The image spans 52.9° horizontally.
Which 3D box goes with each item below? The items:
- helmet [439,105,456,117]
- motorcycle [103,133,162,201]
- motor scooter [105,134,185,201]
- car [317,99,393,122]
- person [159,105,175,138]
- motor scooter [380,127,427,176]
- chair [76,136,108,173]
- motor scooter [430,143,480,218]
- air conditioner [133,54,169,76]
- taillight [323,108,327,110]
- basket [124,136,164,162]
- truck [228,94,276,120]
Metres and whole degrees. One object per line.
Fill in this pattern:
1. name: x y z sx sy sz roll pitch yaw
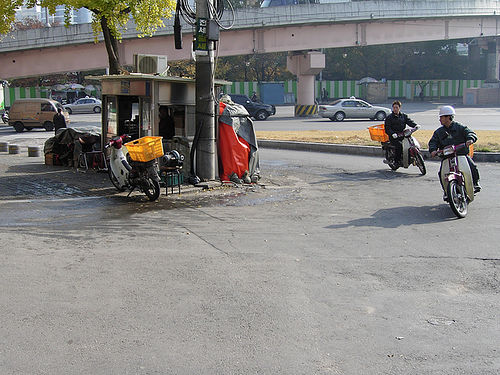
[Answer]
1. helmet: 4.118 -1.593 10.393 0.403 0.255 0.298 5 9 13
2. motorcycle: -2.747 -0.549 11.699 0.792 1.385 2.176 -19 20 -40
3. motor scooter: -2.682 -0.576 11.705 0.922 1.396 2.333 -20 19 -37
4. car: 8.003 -6.173 39.641 4.960 1.643 2.433 0 10 10
5. person: -2.346 -1.866 14.144 0.393 0.896 0.385 -2 10 -5
6. motor scooter: 4.733 -1.174 15.457 0.784 1.303 2.154 -11 7 -9
7. chair: -4.763 -1.054 15.278 0.701 1.031 0.784 2 11 -23
8. motor scooter: 4.011 -0.170 9.782 0.778 1.333 1.312 4 11 27
9. air conditioner: -2.914 -3.685 15.101 0.845 0.613 0.466 6 16 25
10. taillight: 5.774 -6.090 38.880 0.285 0.113 0.059 3 11 24
11. basket: -2.384 -0.868 11.328 0.537 0.347 0.700 -29 17 -31
12. truck: 0.209 -6.782 41.221 3.796 1.726 1.782 -4 15 -7
